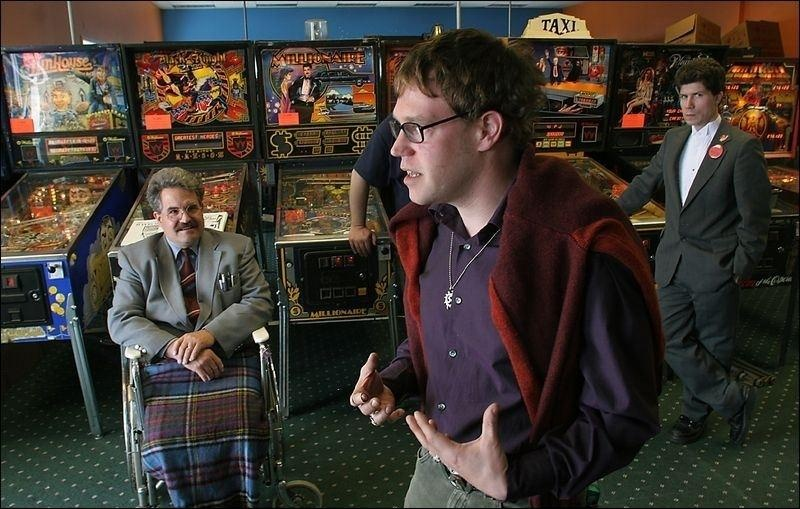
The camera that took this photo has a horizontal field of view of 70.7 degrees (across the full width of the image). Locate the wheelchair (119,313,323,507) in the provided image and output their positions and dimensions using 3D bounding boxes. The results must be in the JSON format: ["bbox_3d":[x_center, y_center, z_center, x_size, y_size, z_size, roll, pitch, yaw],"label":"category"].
[{"bbox_3d":[-1.111,1.147,4.159,0.993,1.642,1.334,-3,-7,-10],"label":"wheelchair"}]

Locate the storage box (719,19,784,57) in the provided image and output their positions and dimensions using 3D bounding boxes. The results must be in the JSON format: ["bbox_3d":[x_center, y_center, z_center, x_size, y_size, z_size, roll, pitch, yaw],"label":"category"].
[{"bbox_3d":[3.655,-2.217,5.828,0.560,0.347,0.387,5,19,23],"label":"storage box"}]

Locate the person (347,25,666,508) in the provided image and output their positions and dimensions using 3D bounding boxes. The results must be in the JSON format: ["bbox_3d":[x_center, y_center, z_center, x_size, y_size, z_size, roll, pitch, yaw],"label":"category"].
[{"bbox_3d":[0.443,0.130,2.316,1.212,2.012,0.755,6,19,26],"label":"person"}]

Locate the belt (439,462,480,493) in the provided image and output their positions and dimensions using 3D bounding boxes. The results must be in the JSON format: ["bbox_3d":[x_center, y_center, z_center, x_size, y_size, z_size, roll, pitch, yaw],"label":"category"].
[{"bbox_3d":[0.255,0.978,2.455,0.134,0.040,0.107,40,-9,6],"label":"belt"}]
